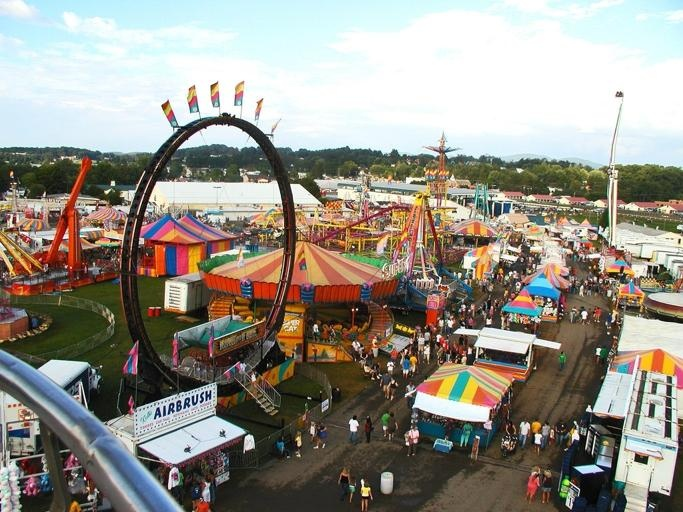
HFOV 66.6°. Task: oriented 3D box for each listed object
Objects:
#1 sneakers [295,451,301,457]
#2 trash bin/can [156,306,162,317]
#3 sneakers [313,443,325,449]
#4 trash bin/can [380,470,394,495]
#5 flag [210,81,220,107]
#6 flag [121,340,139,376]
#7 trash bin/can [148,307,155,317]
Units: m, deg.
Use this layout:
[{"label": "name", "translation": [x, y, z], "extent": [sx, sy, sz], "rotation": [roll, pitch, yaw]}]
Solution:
[{"label": "sneakers", "translation": [-1.313, 6.149, 16.071], "extent": [0.166, 0.093, 0.261], "rotation": [2, 12, -9]}, {"label": "trash bin/can", "translation": [-10.087, 3.094, 29.012], "extent": [0.392, 0.649, 0.417], "rotation": [3, 3, 31]}, {"label": "sneakers", "translation": [-0.675, 6.107, 16.609], "extent": [0.401, 0.200, 0.135], "rotation": [3, -1, 3]}, {"label": "trash bin/can", "translation": [1.327, 6.321, 14.588], "extent": [0.457, 0.541, 0.474], "rotation": [2, 9, 25]}, {"label": "flag", "translation": [-4.638, -5.982, 19.214], "extent": [0.207, 0.852, 0.193], "rotation": [-7, 15, -41]}, {"label": "flag", "translation": [-6.421, 3.192, 16.058], "extent": [0.345, 1.263, 0.833], "rotation": [-2, 13, -28]}, {"label": "trash bin/can", "translation": [-10.505, 3.110, 28.839], "extent": [0.442, 0.495, 0.426], "rotation": [-4, 10, -31]}]
